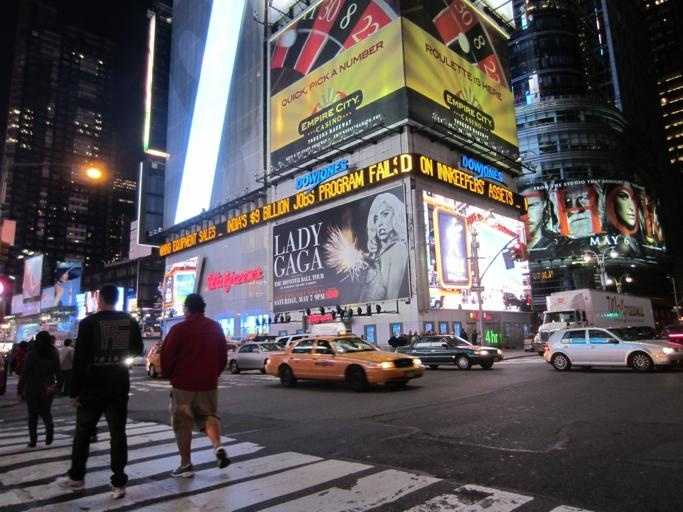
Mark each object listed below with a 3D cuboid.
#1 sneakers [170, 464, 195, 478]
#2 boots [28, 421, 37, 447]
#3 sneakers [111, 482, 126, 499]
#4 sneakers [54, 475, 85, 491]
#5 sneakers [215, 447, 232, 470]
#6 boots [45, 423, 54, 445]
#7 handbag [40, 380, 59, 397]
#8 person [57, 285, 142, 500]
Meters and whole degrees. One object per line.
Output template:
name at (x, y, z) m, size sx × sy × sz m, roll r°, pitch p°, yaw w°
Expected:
sneakers at (-2.321, 3.124, 7.284) m, size 0.345 × 0.172 × 0.225 m, roll -1°, pitch -9°, yaw -6°
boots at (-5.747, 3.312, 9.299) m, size 0.112 × 0.461 × 0.280 m, roll 5°, pitch -11°, yaw -38°
sneakers at (-2.962, 3.116, 6.593) m, size 0.174 × 0.175 × 0.113 m, roll -5°, pitch -11°, yaw 30°
sneakers at (-3.677, 3.098, 6.867) m, size 0.394 × 0.194 × 0.155 m, roll 13°, pitch -15°, yaw -2°
sneakers at (-1.723, 2.890, 7.137) m, size 0.157 × 0.327 × 0.242 m, roll 3°, pitch -10°, yaw -28°
boots at (-5.494, 3.361, 9.398) m, size 0.100 × 0.382 × 0.226 m, roll 5°, pitch -10°, yaw -35°
handbag at (-5.643, 2.610, 9.785) m, size 0.145 × 0.247 × 0.328 m, roll -2°, pitch -9°, yaw 6°
person at (-3.284, 1.804, 6.947) m, size 0.901 × 2.837 × 0.667 m, roll 2°, pitch -9°, yaw -23°
